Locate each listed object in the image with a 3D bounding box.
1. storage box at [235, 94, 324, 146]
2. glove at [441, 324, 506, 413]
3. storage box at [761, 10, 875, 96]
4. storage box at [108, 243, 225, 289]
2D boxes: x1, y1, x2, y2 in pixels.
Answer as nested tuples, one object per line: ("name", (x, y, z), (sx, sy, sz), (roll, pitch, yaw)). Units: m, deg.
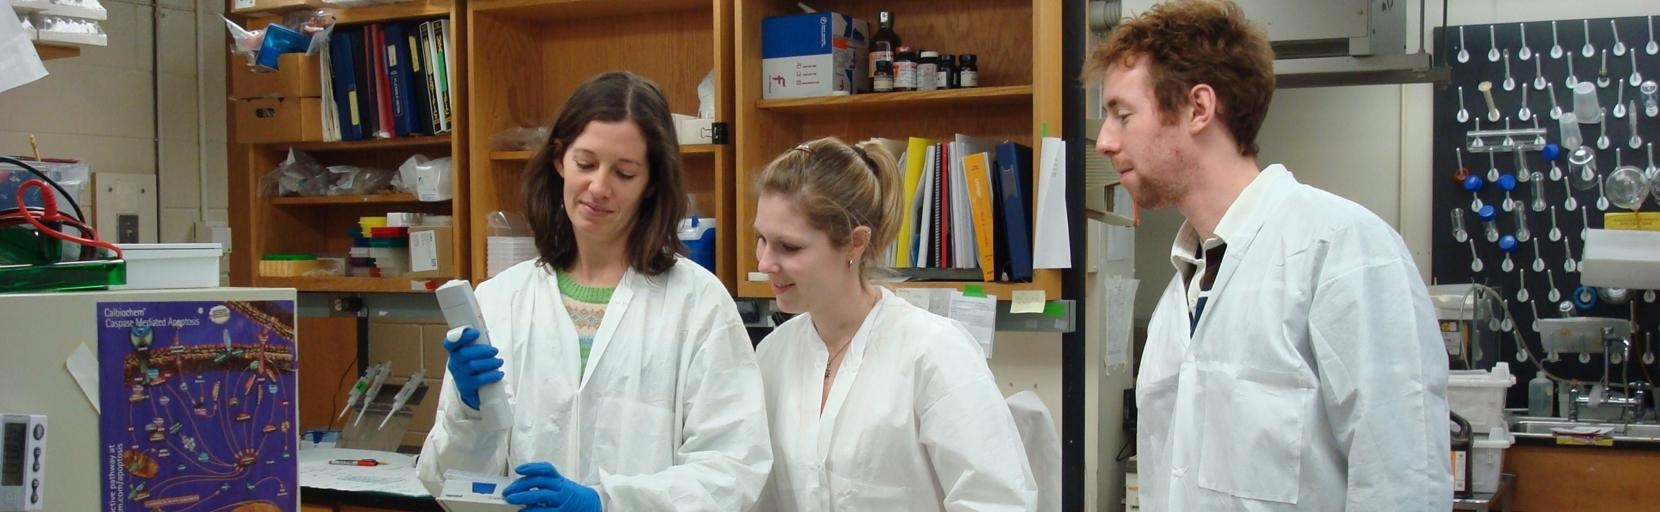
("storage box", (-5.399, -1.334, 11.328), (0.881, 0.444, 0.167), (-1, -3, 11))
("glove", (-2.974, 0.931, 9.632), (0.471, 0.683, 0.171), (0, -3, 0))
("storage box", (-0.110, -1.910, 11.133), (1.070, 0.716, 0.904), (-2, 2, 5))
("storage box", (-5.396, 0.066, 9.382), (0.756, 0.362, 0.199), (0, -3, -13))
